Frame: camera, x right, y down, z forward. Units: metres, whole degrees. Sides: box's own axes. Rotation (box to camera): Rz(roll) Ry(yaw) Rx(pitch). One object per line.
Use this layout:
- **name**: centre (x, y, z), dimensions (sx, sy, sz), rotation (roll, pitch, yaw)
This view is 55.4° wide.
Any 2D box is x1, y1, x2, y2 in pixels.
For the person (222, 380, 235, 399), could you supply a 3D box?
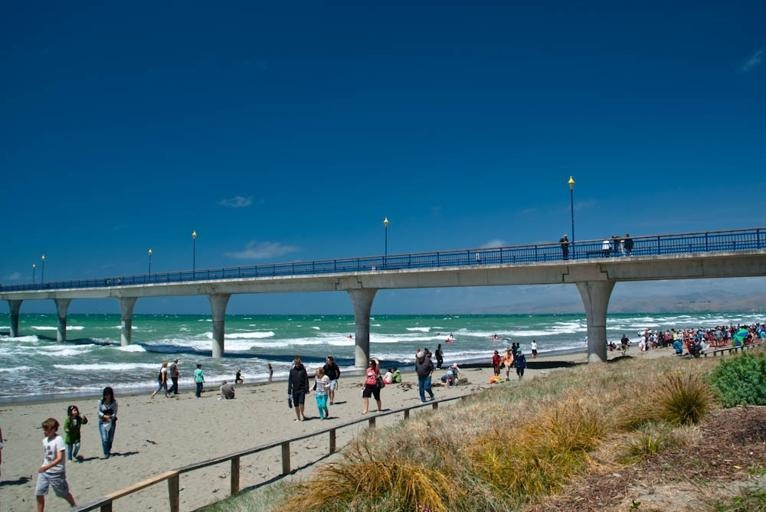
- **person**: centre (-7.337, 6.320, 34.354), dimensions (0.601, 0.798, 1.012), rotation (-2, -6, -17)

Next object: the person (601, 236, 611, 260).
- **person**: centre (11.091, -0.354, 36.410), dimensions (0.435, 0.877, 0.454), rotation (0, -6, -36)

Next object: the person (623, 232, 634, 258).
- **person**: centre (11.932, -0.509, 35.631), dimensions (0.451, 1.077, 1.111), rotation (-5, -5, 16)

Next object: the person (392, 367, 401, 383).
- **person**: centre (0.641, 6.300, 38.641), dimensions (0.437, 0.711, 0.773), rotation (0, -1, -27)

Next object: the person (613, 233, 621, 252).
- **person**: centre (11.563, -0.557, 36.128), dimensions (0.398, 0.887, 0.687), rotation (-3, -5, 2)

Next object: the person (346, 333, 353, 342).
- **person**: centre (-3.993, 9.753, 87.688), dimensions (0.802, 0.583, 1.378), rotation (8, -10, -6)
